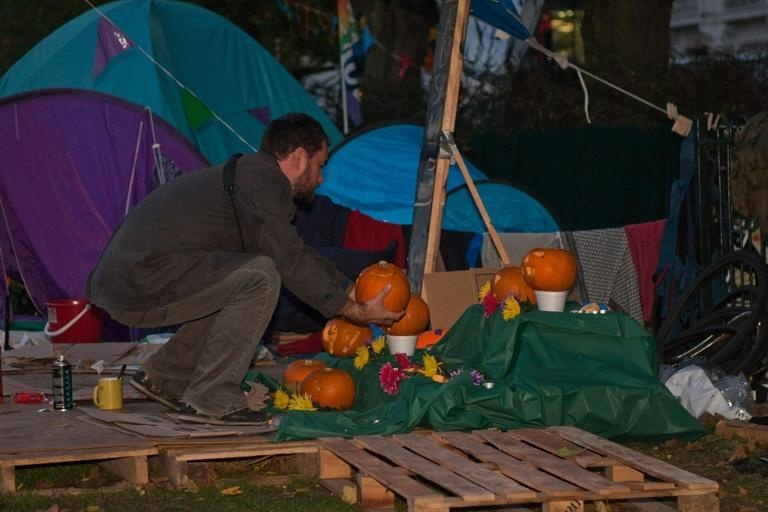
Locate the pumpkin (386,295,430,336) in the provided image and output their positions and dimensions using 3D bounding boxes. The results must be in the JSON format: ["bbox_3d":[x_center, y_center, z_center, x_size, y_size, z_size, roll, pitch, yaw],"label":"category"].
[{"bbox_3d":[0.194,0.444,8.372,0.286,0.274,0.296,3,3,33],"label":"pumpkin"}]

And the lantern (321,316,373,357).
[{"bbox_3d":[-0.287,0.601,8.520,0.297,0.285,0.305,4,2,19],"label":"lantern"}]

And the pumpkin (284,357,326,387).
[{"bbox_3d":[-0.608,0.861,8.231,0.224,0.205,0.226,-4,0,-11],"label":"pumpkin"}]

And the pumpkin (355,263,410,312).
[{"bbox_3d":[-0.001,0.203,8.229,0.366,0.354,0.374,9,3,6],"label":"pumpkin"}]

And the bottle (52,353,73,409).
[{"bbox_3d":[-2.381,0.925,8.184,0.159,0.405,0.243,2,3,-17],"label":"bottle"}]

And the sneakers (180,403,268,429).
[{"bbox_3d":[-1.125,1.124,7.766,0.643,0.117,0.155,3,2,-2],"label":"sneakers"}]

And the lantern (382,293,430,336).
[{"bbox_3d":[0.186,0.431,8.298,0.291,0.284,0.301,2,2,42],"label":"lantern"}]

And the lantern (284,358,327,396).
[{"bbox_3d":[-0.598,0.916,8.243,0.250,0.227,0.247,-6,5,-27],"label":"lantern"}]

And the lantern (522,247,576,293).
[{"bbox_3d":[1.215,0.104,8.058,0.322,0.305,0.329,0,-6,4],"label":"lantern"}]

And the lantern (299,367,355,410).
[{"bbox_3d":[-0.393,0.964,7.974,0.304,0.271,0.304,2,6,-10],"label":"lantern"}]

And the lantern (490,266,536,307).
[{"bbox_3d":[0.967,0.226,8.259,0.270,0.260,0.278,4,3,14],"label":"lantern"}]

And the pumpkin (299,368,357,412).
[{"bbox_3d":[-0.384,0.967,7.973,0.307,0.278,0.305,4,8,-12],"label":"pumpkin"}]

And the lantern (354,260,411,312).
[{"bbox_3d":[-0.006,0.206,8.235,0.366,0.353,0.372,9,3,5],"label":"lantern"}]

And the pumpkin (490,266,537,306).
[{"bbox_3d":[0.959,0.218,8.277,0.271,0.261,0.276,3,1,2],"label":"pumpkin"}]

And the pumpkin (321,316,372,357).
[{"bbox_3d":[-0.293,0.600,8.527,0.296,0.285,0.304,5,3,24],"label":"pumpkin"}]

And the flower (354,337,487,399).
[{"bbox_3d":[0.250,0.790,8.048,0.792,0.360,0.767,-4,-13,-3],"label":"flower"}]
